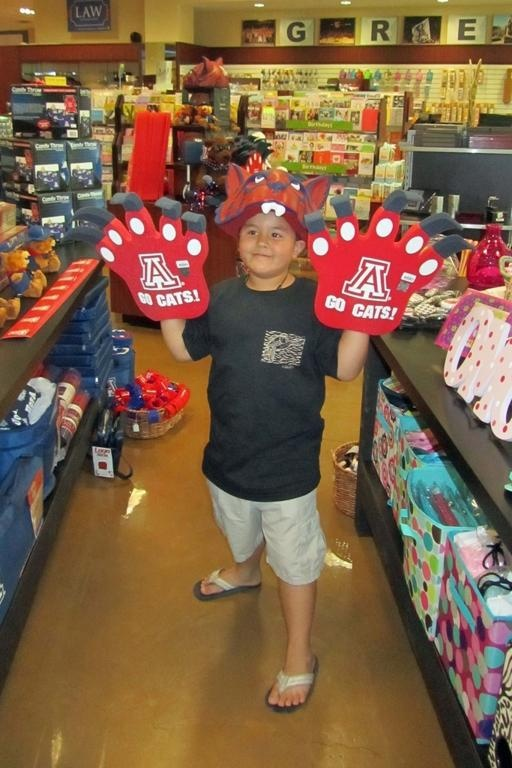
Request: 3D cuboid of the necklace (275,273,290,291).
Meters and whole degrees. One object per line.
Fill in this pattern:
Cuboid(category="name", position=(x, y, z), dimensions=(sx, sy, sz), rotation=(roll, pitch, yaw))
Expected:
Cuboid(category="necklace", position=(0.057, -0.238, 1.165), dimensions=(0.026, 0.007, 0.045), rotation=(-5, 60, 43))

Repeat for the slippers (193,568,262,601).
Cuboid(category="slippers", position=(-0.103, 0.689, 1.728), dimensions=(0.170, 0.054, 0.095), rotation=(2, 21, -3))
